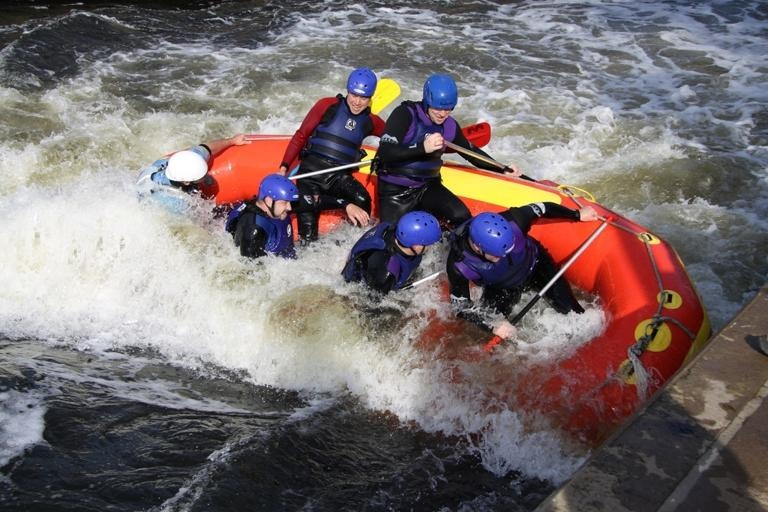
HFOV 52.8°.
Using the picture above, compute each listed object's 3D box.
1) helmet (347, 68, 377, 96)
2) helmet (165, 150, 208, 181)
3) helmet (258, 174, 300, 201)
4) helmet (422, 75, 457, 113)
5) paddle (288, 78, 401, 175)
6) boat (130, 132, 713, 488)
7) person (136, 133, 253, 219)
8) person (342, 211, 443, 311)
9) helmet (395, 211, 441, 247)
[{"bbox_3d":[-0.244,-1.959,8.799,0.318,0.295,0.310,10,81,-3],"label":"helmet"},{"bbox_3d":[-2.205,-0.992,8.600,0.529,0.331,0.263,-7,91,-3],"label":"helmet"},{"bbox_3d":[-1.132,-0.741,8.367,0.437,0.213,0.282,15,18,8],"label":"helmet"},{"bbox_3d":[0.635,-1.772,8.462,0.406,0.268,0.441,-1,11,-13],"label":"helmet"},{"bbox_3d":[-0.601,-1.656,9.359,2.093,0.130,0.470,-27,86,-19],"label":"paddle"},{"bbox_3d":[0.572,-0.223,8.575,5.898,1.393,2.710,24,43,26],"label":"boat"},{"bbox_3d":[-2.254,-0.827,9.047,1.067,1.379,0.906,7,80,-31],"label":"person"},{"bbox_3d":[0.118,0.086,7.984,0.575,1.058,0.633,40,50,-18],"label":"person"},{"bbox_3d":[0.331,-0.273,7.684,0.502,0.255,0.275,-3,61,5],"label":"helmet"}]
